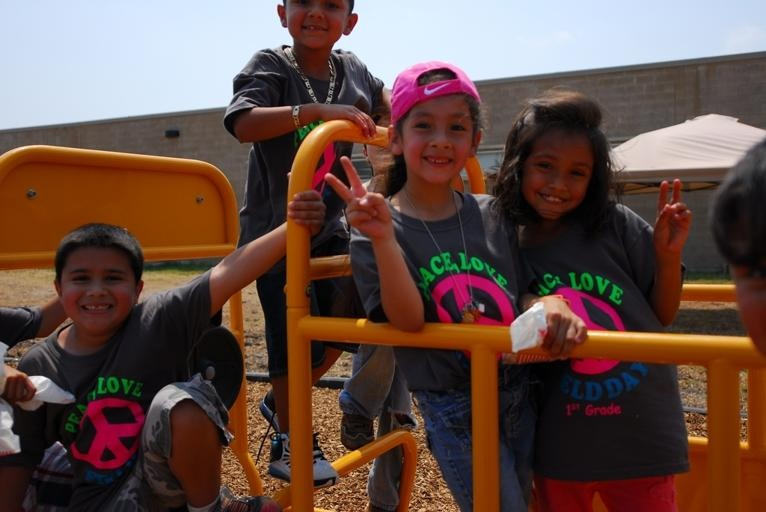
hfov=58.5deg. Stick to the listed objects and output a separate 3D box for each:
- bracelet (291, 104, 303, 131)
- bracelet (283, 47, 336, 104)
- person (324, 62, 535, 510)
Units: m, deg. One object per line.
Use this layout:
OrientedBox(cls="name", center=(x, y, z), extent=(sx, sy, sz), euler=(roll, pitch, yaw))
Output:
OrientedBox(cls="bracelet", center=(-0.348, -0.563, 2.748), extent=(0.043, 0.077, 0.080), euler=(-3, 51, -2))
OrientedBox(cls="bracelet", center=(-0.304, -0.791, 3.052), extent=(0.194, 0.306, 0.073), euler=(12, 24, 16))
OrientedBox(cls="person", center=(0.203, 0.076, 2.303), extent=(0.626, 1.445, 0.641), euler=(2, 8, 14))
